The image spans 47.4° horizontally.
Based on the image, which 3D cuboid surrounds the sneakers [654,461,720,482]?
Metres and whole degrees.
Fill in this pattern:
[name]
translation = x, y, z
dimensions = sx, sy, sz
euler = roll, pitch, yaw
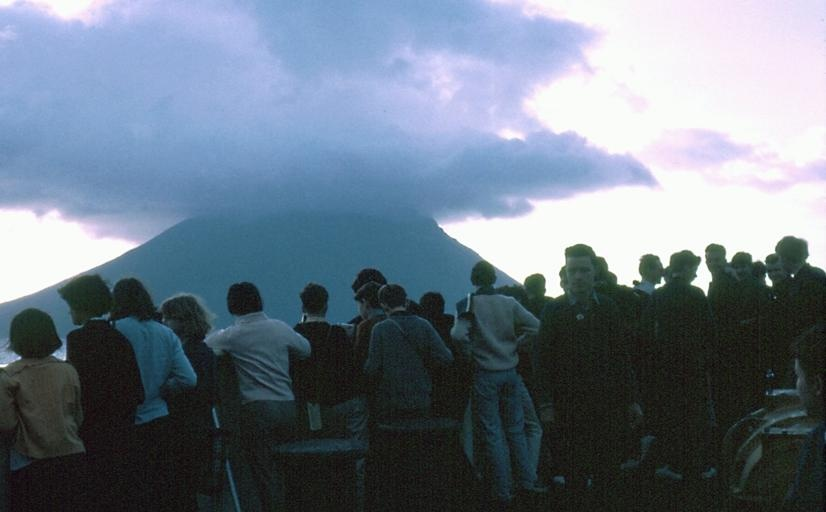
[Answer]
[sneakers]
translation = 3.229, 2.569, 11.131
dimensions = 0.617, 0.191, 0.240
euler = -4, -20, 4
